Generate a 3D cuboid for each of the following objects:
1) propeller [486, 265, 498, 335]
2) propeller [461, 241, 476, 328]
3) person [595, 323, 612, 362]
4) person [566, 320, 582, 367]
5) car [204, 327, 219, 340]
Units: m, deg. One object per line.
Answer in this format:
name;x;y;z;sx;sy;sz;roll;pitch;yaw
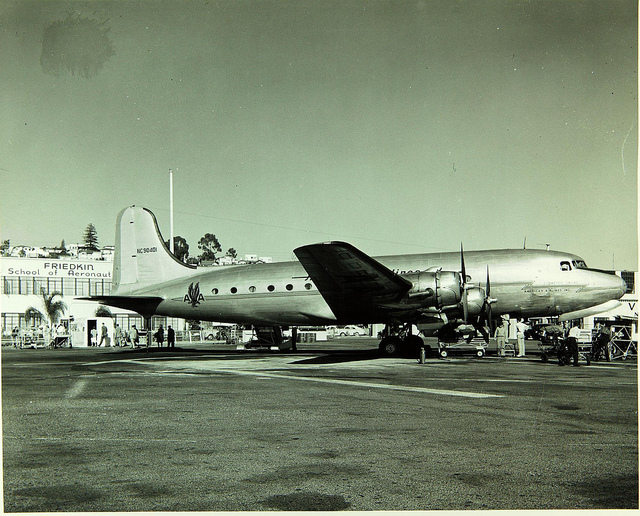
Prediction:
propeller;5.956;1.599;28.393;0.391;1.990;0.979;0;1;11
propeller;4.986;0.962;27.551;0.695;3.755;0.572;-2;38;9
person;9.960;3.061;28.853;0.519;1.098;1.357;1;2;19
person;7.955;2.816;25.690;0.427;1.117;1.994;1;2;18
car;-8.857;6.166;66.894;1.262;1.055;1.980;2;-8;-37
